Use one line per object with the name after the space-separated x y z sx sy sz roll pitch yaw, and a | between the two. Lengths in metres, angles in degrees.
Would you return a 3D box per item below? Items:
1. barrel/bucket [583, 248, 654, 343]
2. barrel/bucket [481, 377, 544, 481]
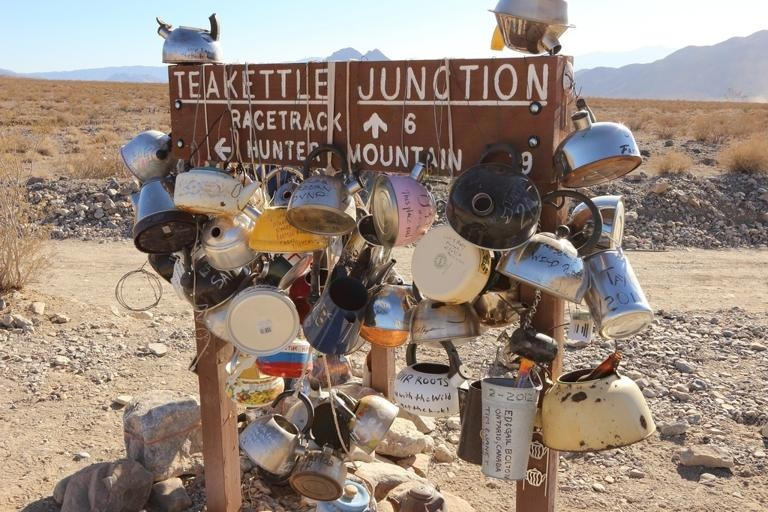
1.349 0.226 4.301 0.409 0.301 0.490 1 49 0 | barrel/bucket
0.715 1.005 4.351 0.352 0.540 0.355 5 -4 0 | barrel/bucket
